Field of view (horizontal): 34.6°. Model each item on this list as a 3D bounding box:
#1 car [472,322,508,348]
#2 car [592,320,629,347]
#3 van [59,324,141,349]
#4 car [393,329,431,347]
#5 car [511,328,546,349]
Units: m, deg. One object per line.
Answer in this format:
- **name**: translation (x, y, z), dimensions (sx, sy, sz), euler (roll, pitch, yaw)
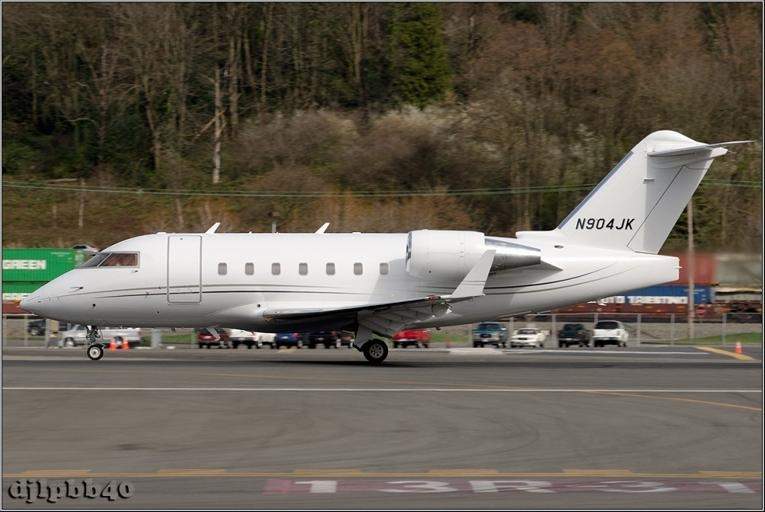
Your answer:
- **car**: translation (5.260, 4.044, 62.923), dimensions (2.152, 0.801, 2.531), euler (-2, -9, 10)
- **car**: translation (11.227, 3.916, 62.007), dimensions (1.600, 0.618, 2.046), euler (0, 3, 23)
- **van**: translation (-14.020, 4.060, 60.953), dimensions (5.862, 1.072, 1.876), euler (1, -2, 2)
- **car**: translation (0.832, 4.072, 60.718), dimensions (1.655, 0.554, 2.525), euler (1, 2, 42)
- **car**: translation (7.191, 4.172, 62.131), dimensions (1.864, 0.589, 2.790), euler (-1, -7, 16)
